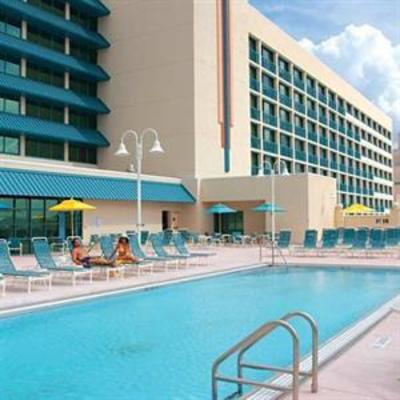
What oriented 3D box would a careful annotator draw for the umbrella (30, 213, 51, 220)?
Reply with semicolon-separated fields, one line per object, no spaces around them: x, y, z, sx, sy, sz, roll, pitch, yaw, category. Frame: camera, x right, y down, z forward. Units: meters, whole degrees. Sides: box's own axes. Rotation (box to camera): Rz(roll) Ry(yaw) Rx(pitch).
-8.557;0.815;22.637;0.144;0.403;1.221;-2;-2;32;umbrella

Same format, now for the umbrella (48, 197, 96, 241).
-5.811;0.956;19.037;2.124;2.217;2.030;-1;0;-23;umbrella

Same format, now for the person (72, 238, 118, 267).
-3.149;1.580;12.554;1.352;0.789;0.672;3;0;1;person

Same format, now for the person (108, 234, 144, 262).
-2.322;1.552;13.085;0.714;0.890;1.152;-8;9;-30;person
